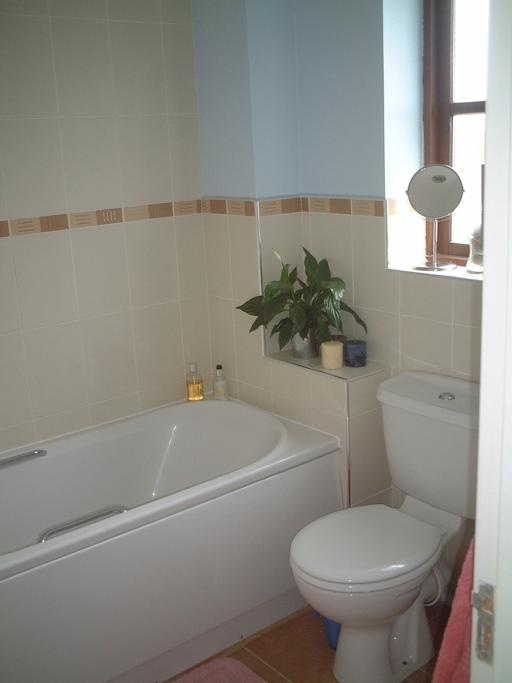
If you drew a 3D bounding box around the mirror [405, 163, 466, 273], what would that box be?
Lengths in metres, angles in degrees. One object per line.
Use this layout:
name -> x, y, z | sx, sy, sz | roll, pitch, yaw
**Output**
mirror -> 0.689, -0.509, 1.912 | 0.196, 0.446, 0.179 | 5, 44, 26
